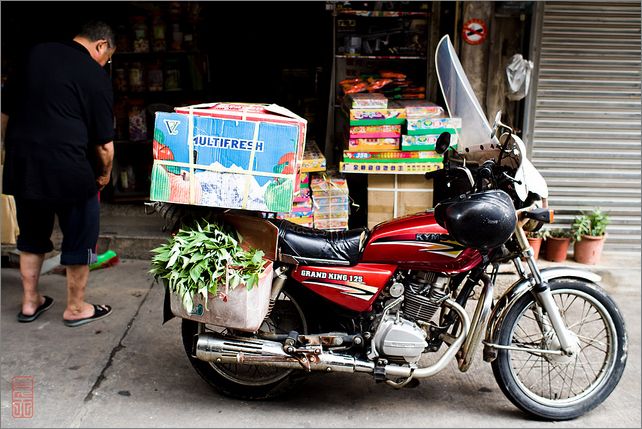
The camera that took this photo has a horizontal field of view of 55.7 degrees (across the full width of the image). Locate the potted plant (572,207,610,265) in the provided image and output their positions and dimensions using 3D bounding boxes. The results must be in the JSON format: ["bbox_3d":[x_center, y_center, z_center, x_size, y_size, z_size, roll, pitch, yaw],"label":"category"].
[{"bbox_3d":[3.110,0.261,7.101,0.439,0.638,0.253,-3,-6,5],"label":"potted plant"}]

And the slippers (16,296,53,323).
[{"bbox_3d":[-2.774,0.926,5.997,0.133,0.095,0.357,8,21,7],"label":"slippers"}]

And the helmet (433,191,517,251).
[{"bbox_3d":[1.156,0.051,4.615,0.531,0.397,0.270,-1,0,3],"label":"helmet"}]

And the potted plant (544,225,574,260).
[{"bbox_3d":[2.687,0.305,7.101,0.352,0.362,0.326,-1,20,-8],"label":"potted plant"}]

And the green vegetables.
[{"bbox_3d":[-0.883,0.407,4.835,0.909,0.673,0.449,-1,21,-4],"label":"green vegetables"}]

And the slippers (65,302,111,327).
[{"bbox_3d":[-2.272,0.967,5.953,0.341,0.103,0.166,-11,14,-44],"label":"slippers"}]
